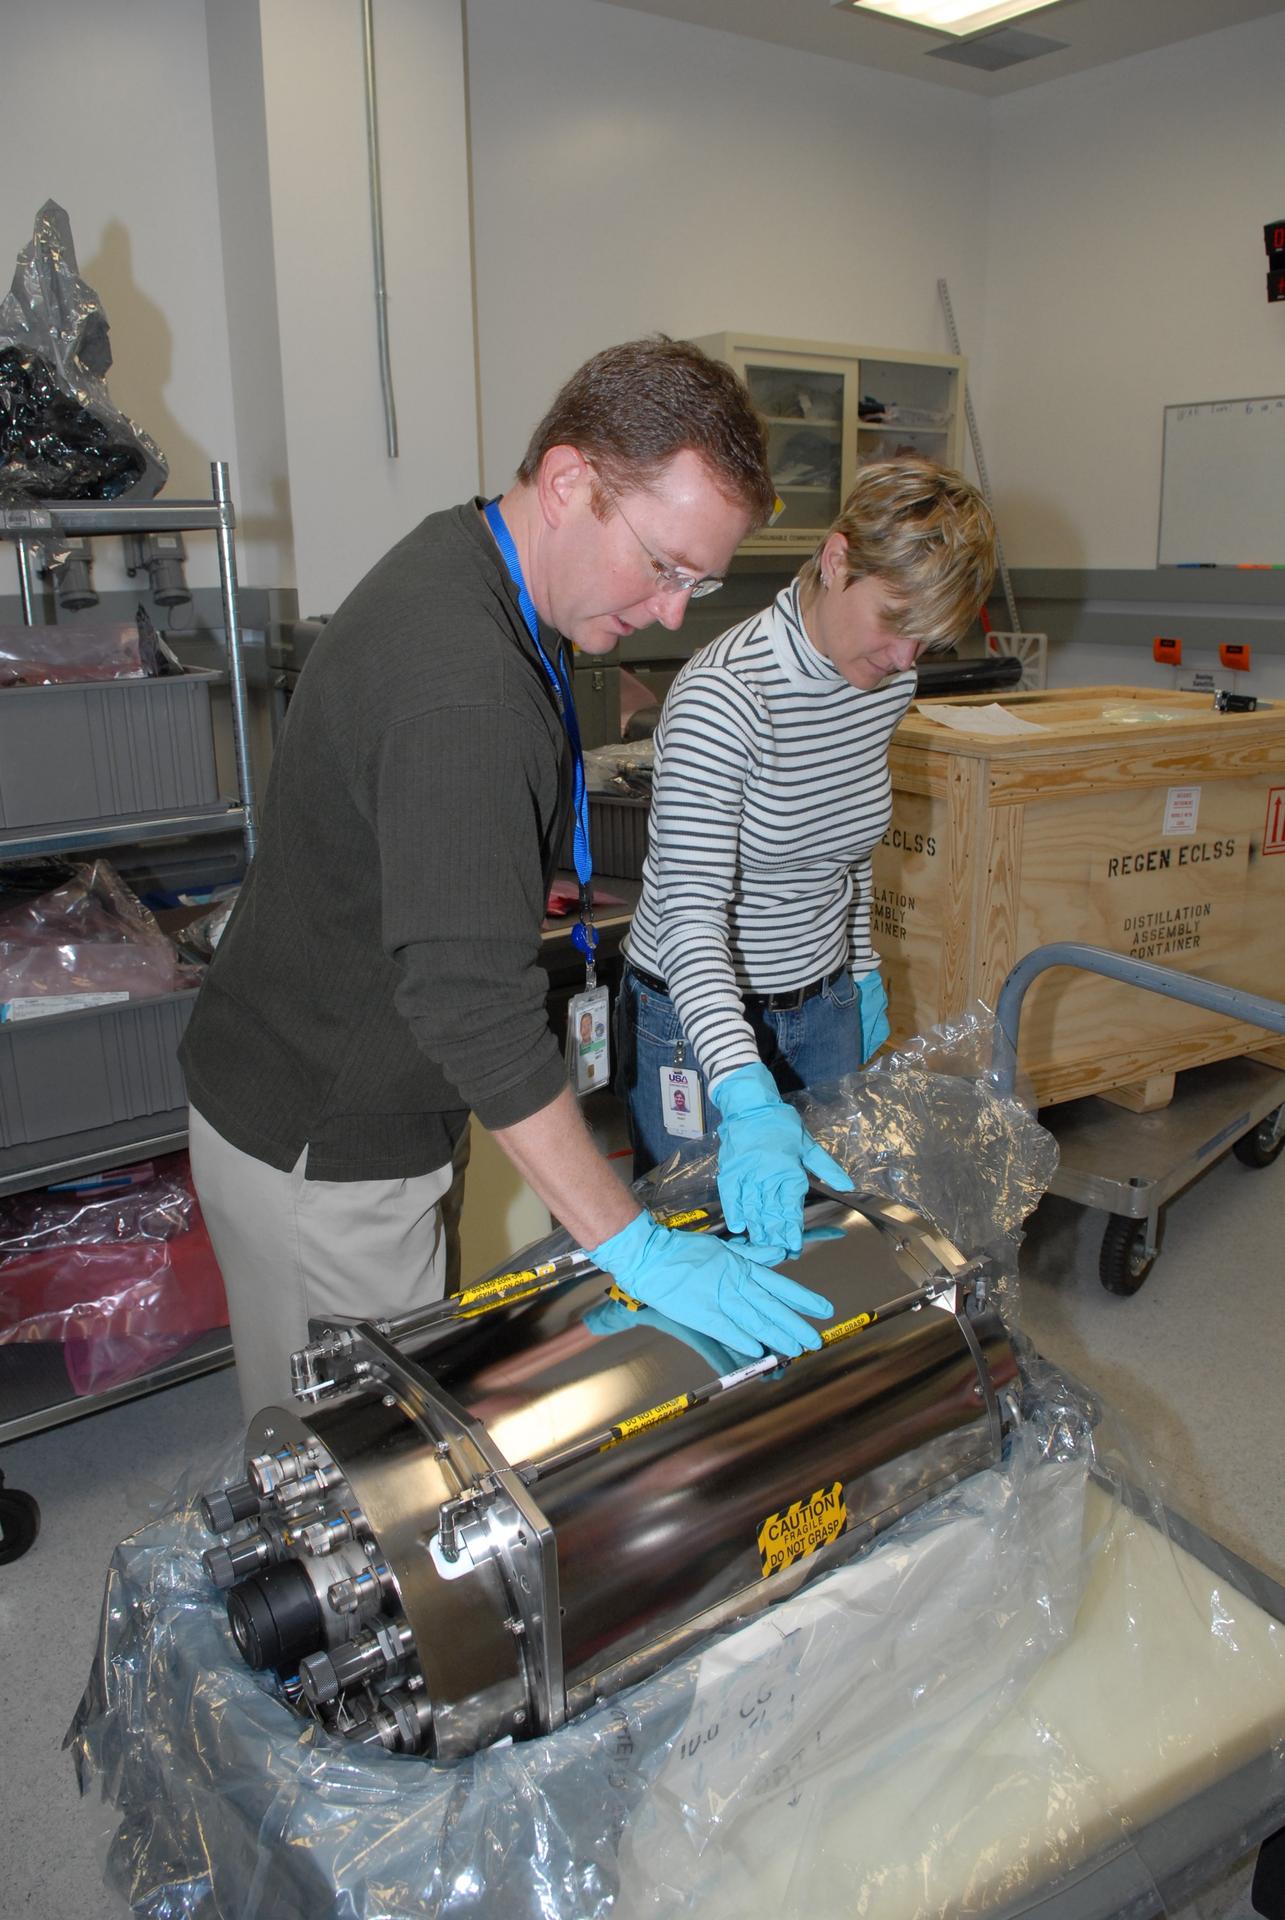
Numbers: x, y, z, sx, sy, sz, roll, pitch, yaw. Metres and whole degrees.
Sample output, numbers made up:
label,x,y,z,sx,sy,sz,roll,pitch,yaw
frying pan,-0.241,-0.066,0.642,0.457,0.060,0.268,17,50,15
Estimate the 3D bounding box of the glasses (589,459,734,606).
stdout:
label,x,y,z,sx,sy,sz,roll,pitch,yaw
glasses,0.017,-0.286,0.876,0.019,0.064,0.062,-26,2,34
